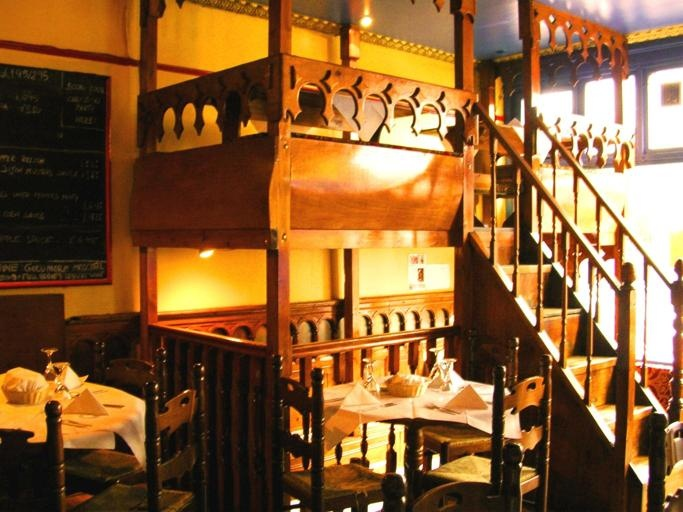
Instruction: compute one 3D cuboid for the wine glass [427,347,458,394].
[{"bbox_3d":[0.700,0.837,4.908,0.180,0.300,0.288,-9,2,-26],"label":"wine glass"}]
